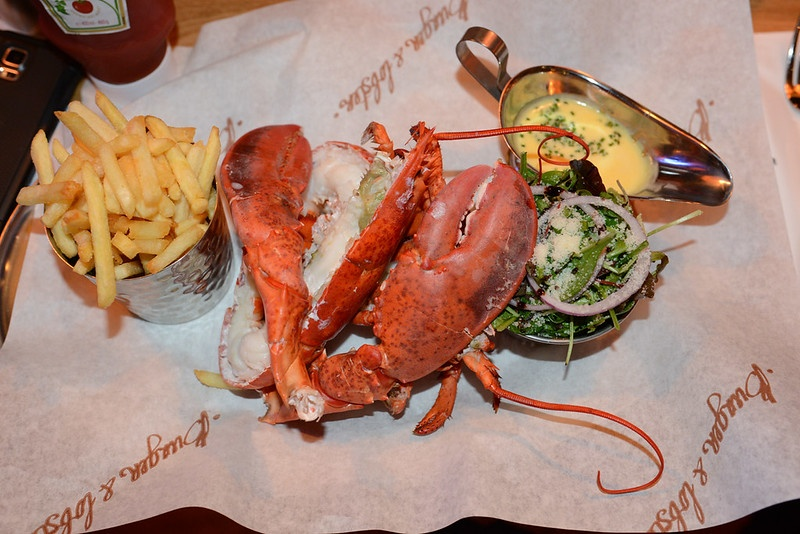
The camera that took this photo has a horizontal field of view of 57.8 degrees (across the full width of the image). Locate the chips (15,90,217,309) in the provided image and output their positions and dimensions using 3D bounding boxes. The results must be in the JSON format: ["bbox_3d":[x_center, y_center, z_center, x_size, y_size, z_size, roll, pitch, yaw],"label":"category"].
[{"bbox_3d":[-1.112,-0.286,2.960,0.815,0.867,0.307,5,-7,-15],"label":"chips"}]
